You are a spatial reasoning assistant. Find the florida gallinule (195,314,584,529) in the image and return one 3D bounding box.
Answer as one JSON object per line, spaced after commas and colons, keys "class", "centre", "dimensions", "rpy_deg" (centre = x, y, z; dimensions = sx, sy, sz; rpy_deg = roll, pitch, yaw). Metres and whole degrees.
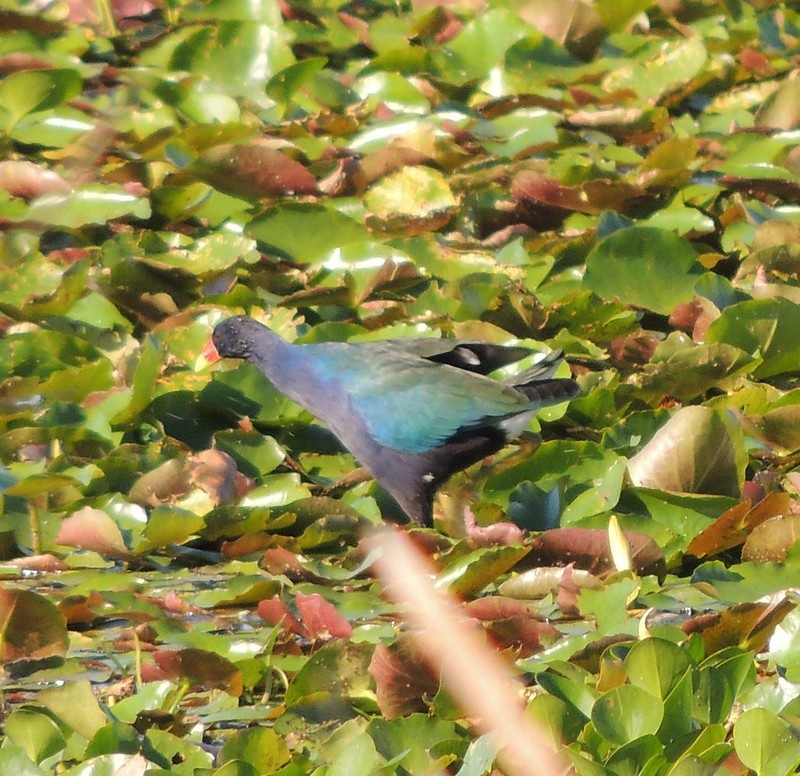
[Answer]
{"class": "florida gallinule", "centre": [0.095, 0.102, 3.633], "dimensions": [1.537, 0.671, 0.477], "rpy_deg": [-1, 4, 22]}
